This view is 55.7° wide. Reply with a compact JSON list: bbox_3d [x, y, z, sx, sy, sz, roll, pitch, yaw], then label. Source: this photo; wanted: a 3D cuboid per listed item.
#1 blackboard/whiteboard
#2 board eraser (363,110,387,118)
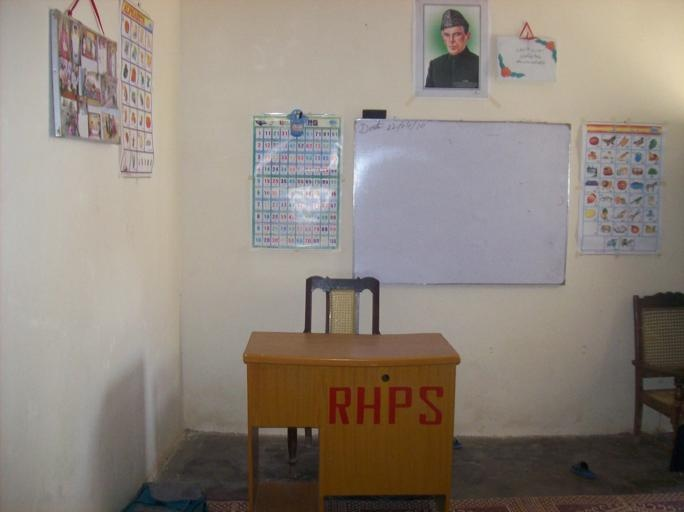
[{"bbox_3d":[0.815,-0.384,4.514,1.421,1.164,0.357,-4,5,-2],"label":"blackboard/whiteboard"},{"bbox_3d":[0.231,-0.975,4.481,0.116,0.070,0.025,2,0,-2],"label":"board eraser"}]
